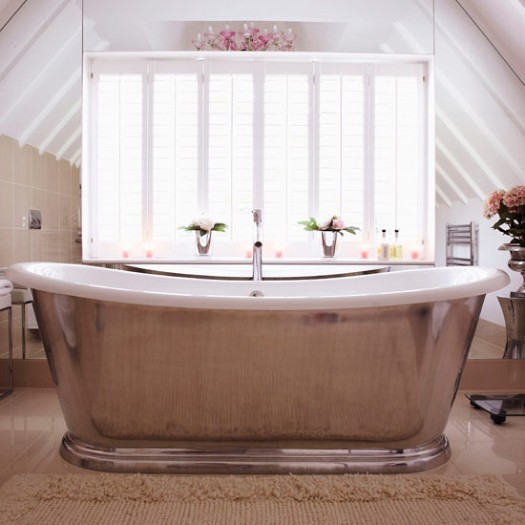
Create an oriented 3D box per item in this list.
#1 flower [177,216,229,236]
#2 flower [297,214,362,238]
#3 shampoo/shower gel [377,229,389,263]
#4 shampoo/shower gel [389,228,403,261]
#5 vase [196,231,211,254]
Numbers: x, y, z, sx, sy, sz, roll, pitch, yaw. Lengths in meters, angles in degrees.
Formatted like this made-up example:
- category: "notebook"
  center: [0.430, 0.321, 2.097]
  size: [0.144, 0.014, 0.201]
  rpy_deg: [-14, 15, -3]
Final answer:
- category: "flower"
  center: [-0.361, -0.219, 3.243]
  size: [0.156, 0.074, 0.168]
  rpy_deg: [2, -2, 18]
- category: "flower"
  center: [0.419, -0.227, 3.307]
  size: [0.391, 0.134, 0.215]
  rpy_deg: [1, 9, 4]
- category: "shampoo/shower gel"
  center: [0.748, -0.107, 3.271]
  size: [0.065, 0.183, 0.190]
  rpy_deg: [2, 9, 11]
- category: "shampoo/shower gel"
  center: [0.827, -0.109, 3.269]
  size: [0.083, 0.181, 0.214]
  rpy_deg: [3, 9, 16]
- category: "vase"
  center: [-0.361, -0.118, 3.240]
  size: [0.107, 0.198, 0.117]
  rpy_deg: [1, 1, 4]
